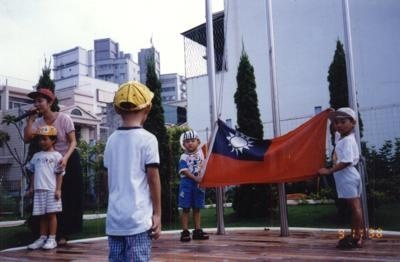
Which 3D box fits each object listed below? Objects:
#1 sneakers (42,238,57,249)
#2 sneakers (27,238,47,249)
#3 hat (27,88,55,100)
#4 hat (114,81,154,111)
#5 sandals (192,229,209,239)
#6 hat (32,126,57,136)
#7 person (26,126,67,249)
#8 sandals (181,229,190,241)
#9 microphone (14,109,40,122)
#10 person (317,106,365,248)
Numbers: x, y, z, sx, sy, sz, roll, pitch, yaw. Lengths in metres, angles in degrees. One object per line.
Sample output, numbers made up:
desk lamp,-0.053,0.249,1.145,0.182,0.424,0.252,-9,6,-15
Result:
sneakers,-2.592,1.929,7.030,0.213,0.175,0.294,1,-5,-20
sneakers,-2.794,1.928,7.043,0.361,0.165,0.142,3,1,-44
hat,-2.828,-0.655,7.294,0.336,0.189,0.214,8,-9,-36
hat,-0.927,-0.592,5.579,0.484,0.282,0.720,6,32,4
sandals,-0.007,1.930,7.660,0.272,0.188,0.151,-2,-5,1
hat,-2.682,0.010,7.104,0.184,0.128,0.261,-5,-9,33
person,-2.701,0.972,7.108,0.614,2.113,0.338,0,-4,-12
sandals,-0.283,1.934,7.548,0.197,0.193,0.241,-1,-4,-2
microphone,-2.986,-0.293,6.974,0.445,0.134,0.134,-33,-13,23
person,2.485,0.738,6.994,0.531,2.342,0.844,-4,-5,35
